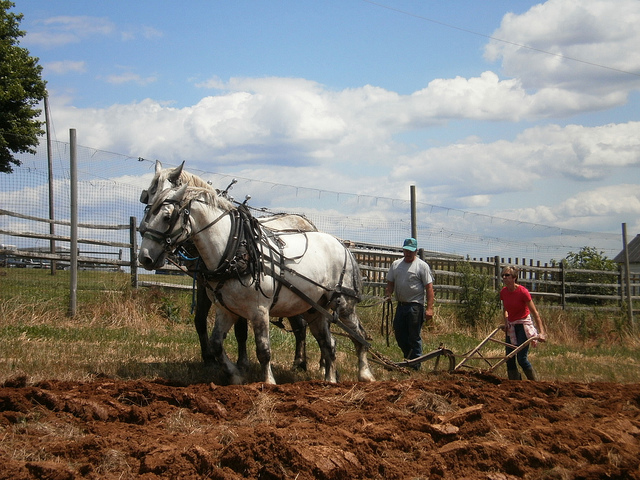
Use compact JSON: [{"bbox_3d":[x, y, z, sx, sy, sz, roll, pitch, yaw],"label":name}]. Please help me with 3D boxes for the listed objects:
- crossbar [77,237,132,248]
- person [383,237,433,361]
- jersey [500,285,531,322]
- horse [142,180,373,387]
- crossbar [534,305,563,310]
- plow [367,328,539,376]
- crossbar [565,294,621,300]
[{"bbox_3d":[-3.801,0.060,13.240,0.746,0.117,0.112,6,25,1],"label":"crossbar"},{"bbox_3d":[1.548,1.027,13.108,0.831,2.083,0.610,1,-1,8],"label":"person"},{"bbox_3d":[3.285,1.074,12.650,0.573,0.649,0.366,-6,2,41],"label":"jersey"},{"bbox_3d":[-0.805,0.852,11.958,4.257,3.228,1.420,9,-13,-39],"label":"horse"},{"bbox_3d":[6.857,1.992,22.447,0.711,0.113,2.548,1,-2,19],"label":"crossbar"},{"bbox_3d":[2.187,1.991,12.578,2.744,1.000,1.240,-1,-9,5],"label":"plow"},{"bbox_3d":[8.667,1.769,23.848,1.864,0.117,0.879,2,-2,-4],"label":"crossbar"}]
